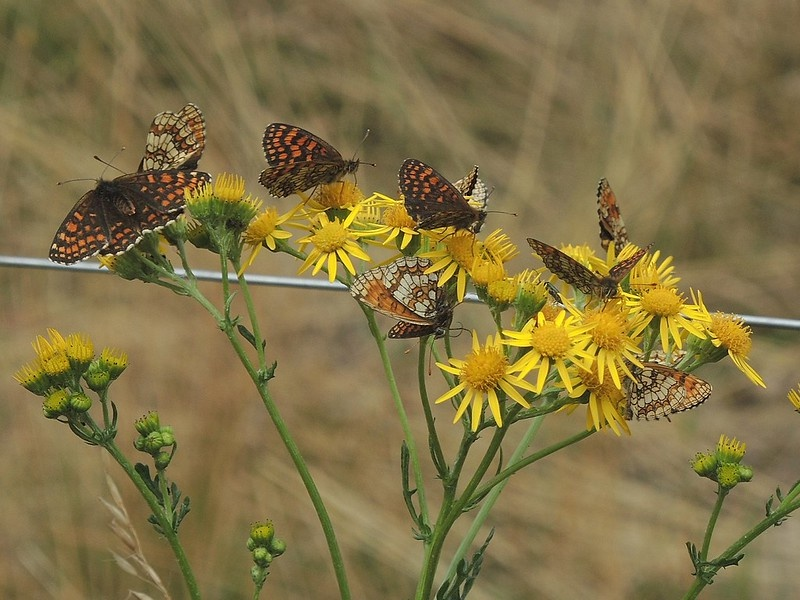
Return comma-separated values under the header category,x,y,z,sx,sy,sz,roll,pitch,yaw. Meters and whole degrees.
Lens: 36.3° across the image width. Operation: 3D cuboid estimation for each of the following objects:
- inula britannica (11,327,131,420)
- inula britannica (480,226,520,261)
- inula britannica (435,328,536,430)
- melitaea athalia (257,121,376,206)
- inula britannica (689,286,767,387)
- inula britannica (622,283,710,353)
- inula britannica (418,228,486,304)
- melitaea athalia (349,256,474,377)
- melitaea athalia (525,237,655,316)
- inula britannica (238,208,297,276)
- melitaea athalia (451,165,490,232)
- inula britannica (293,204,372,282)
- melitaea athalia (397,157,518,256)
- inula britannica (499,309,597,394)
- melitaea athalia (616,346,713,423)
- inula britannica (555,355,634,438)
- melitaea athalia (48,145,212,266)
category,x,y,z,sx,sy,sz,roll,pitch,yaw
inula britannica,-0.651,0.138,2.406,0.208,0.172,0.136,-1,25,-3
inula britannica,0.188,-0.097,2.389,0.073,0.032,0.072,13,26,1
inula britannica,0.153,0.149,2.276,0.174,0.185,0.080,8,-6,14
melitaea athalia,-0.179,-0.274,2.484,0.228,0.123,0.233,-13,-4,6
inula britannica,0.613,0.074,2.354,0.192,0.093,0.117,37,20,31
inula britannica,0.500,0.035,2.344,0.181,0.071,0.191,9,21,9
inula britannica,0.098,-0.069,2.379,0.121,0.126,0.055,-13,67,-2
melitaea athalia,0.012,0.017,2.305,0.160,0.113,0.183,19,47,23
melitaea athalia,0.346,-0.050,2.307,0.210,0.115,0.124,4,24,-19
inula britannica,-0.264,-0.147,2.422,0.103,0.051,0.132,3,19,6
melitaea athalia,0.143,-0.208,2.431,0.109,0.100,0.130,10,2,0
inula britannica,-0.130,-0.104,2.381,0.136,0.133,0.137,-1,25,-5
melitaea athalia,0.078,-0.194,2.354,0.164,0.136,0.133,-1,25,-3
inula britannica,0.266,0.091,2.279,0.199,0.055,0.175,26,41,13
melitaea athalia,0.480,0.181,2.287,0.132,0.082,0.151,2,-23,6
inula britannica,0.354,0.166,2.270,0.108,0.051,0.096,21,3,-3
melitaea athalia,-0.548,-0.210,2.410,0.214,0.081,0.327,31,-24,-34
